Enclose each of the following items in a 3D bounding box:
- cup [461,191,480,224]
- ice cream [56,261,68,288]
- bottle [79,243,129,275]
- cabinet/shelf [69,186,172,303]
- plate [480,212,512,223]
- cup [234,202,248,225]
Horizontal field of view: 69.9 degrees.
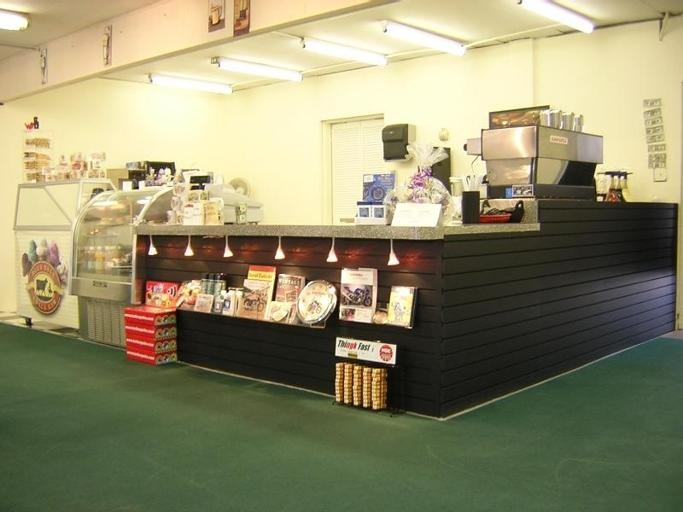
[{"bbox_3d":[1.161,-0.426,4.332,0.236,0.282,0.103,-4,5,-38],"label":"cup"},{"bbox_3d":[-3.889,0.268,6.802,0.113,0.300,0.317,-3,-2,-41],"label":"ice cream"},{"bbox_3d":[-2.940,0.050,6.069,0.768,0.346,0.404,1,-1,33],"label":"bottle"},{"bbox_3d":[-2.760,-0.105,6.523,1.222,1.265,1.070,3,-2,30],"label":"cabinet/shelf"},{"bbox_3d":[1.450,-0.357,4.586,0.350,0.088,0.099,-2,4,-13],"label":"plate"},{"bbox_3d":[-1.189,-0.503,5.781,0.125,0.229,0.124,-1,4,0],"label":"cup"}]
